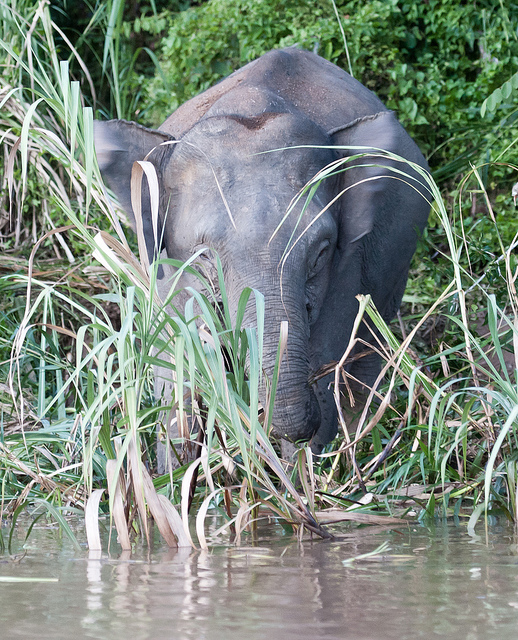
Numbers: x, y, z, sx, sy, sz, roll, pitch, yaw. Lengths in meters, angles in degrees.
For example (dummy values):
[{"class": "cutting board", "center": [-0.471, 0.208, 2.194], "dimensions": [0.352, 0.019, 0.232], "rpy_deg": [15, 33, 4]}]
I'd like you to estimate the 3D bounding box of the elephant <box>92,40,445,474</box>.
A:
[{"class": "elephant", "center": [0.025, -0.111, 2.600], "dimensions": [0.824, 1.140, 1.565], "rpy_deg": [-3, 17, 4]}]
